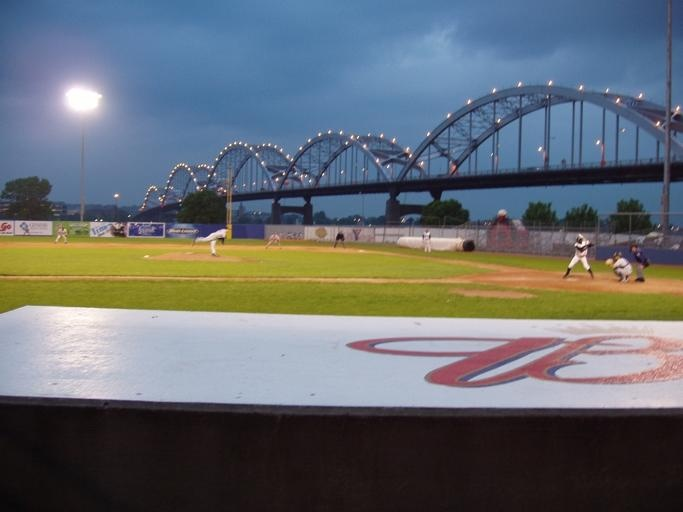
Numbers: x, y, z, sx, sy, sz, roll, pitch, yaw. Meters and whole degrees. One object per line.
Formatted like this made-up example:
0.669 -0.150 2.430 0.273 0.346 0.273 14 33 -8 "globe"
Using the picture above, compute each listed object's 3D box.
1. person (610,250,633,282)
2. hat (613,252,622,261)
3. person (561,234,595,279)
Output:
7.628 0.275 21.079 0.505 0.896 0.641 -12 17 -16 "person"
7.373 -0.002 20.700 0.272 0.265 0.216 5 2 18 "hat"
6.039 0.035 19.632 0.731 1.088 0.537 4 16 22 "person"
